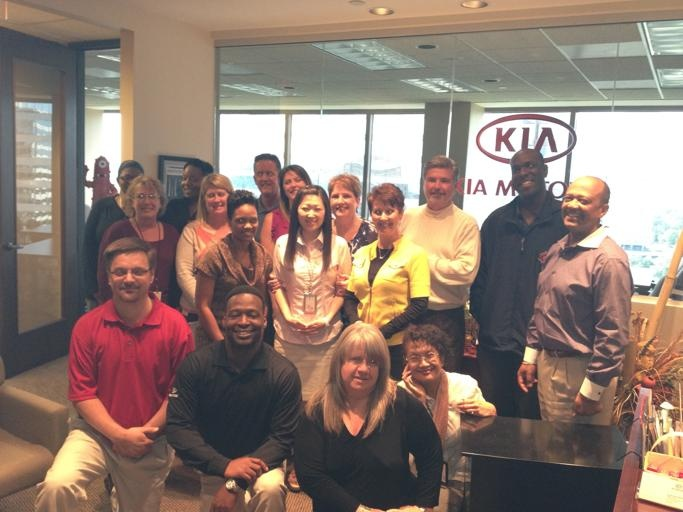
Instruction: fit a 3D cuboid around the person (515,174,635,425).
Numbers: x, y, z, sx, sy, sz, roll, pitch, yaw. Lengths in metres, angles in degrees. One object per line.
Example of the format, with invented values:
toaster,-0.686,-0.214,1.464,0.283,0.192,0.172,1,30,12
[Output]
person,1.484,0.317,3.744,0.632,1.630,0.490,6,12,28
